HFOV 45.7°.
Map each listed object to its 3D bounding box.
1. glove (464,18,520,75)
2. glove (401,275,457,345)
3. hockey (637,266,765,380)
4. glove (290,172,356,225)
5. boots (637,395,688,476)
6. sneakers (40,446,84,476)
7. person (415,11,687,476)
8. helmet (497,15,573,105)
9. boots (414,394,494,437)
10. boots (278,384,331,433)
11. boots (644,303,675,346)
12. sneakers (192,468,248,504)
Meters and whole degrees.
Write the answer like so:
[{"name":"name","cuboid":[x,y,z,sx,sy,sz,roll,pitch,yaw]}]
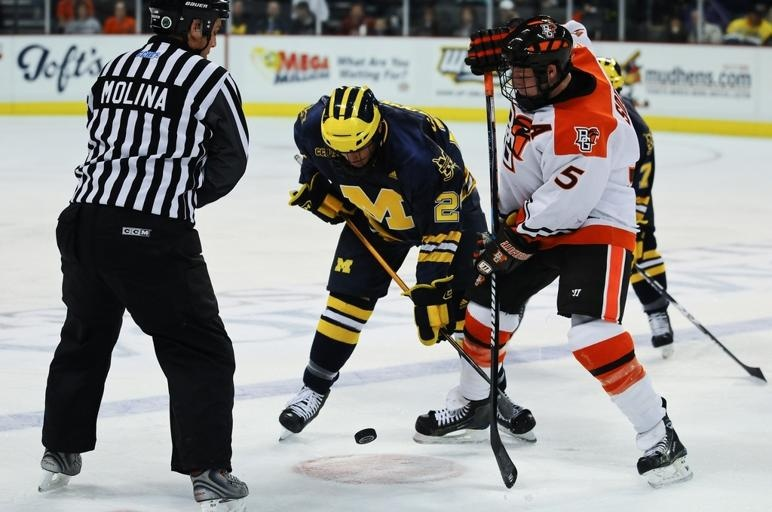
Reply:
[{"name":"glove","cuboid":[0.408,-0.801,3.585,0.216,0.225,0.093,0,36,1]},{"name":"glove","cuboid":[0.179,0.207,3.801,0.247,0.263,0.108,-13,20,-11]},{"name":"hockey","cuboid":[1.665,0.372,4.857,0.801,0.146,0.038,36,64,17]},{"name":"glove","cuboid":[-0.280,-0.279,4.072,0.238,0.252,0.103,-38,31,29]},{"name":"boots","cuboid":[1.021,0.712,3.343,0.176,0.240,0.104,-10,16,-38]},{"name":"sneakers","cuboid":[-1.154,0.731,3.272,0.087,0.067,0.160,3,3,2]},{"name":"person","cuboid":[0.743,-0.047,3.475,0.933,1.694,0.467,5,14,24]},{"name":"helmet","cuboid":[0.563,-0.714,3.409,0.235,0.345,0.152,4,13,21]},{"name":"boots","cuboid":[0.352,0.673,3.919,0.465,0.195,0.121,-2,10,-10]},{"name":"boots","cuboid":[-0.332,0.642,3.877,0.089,0.113,0.283,38,16,3]},{"name":"boots","cuboid":[1.411,0.348,4.703,0.090,0.111,0.266,-26,20,22]},{"name":"sneakers","cuboid":[-0.576,0.787,3.152,0.247,0.098,0.086,2,-2,-42]}]
